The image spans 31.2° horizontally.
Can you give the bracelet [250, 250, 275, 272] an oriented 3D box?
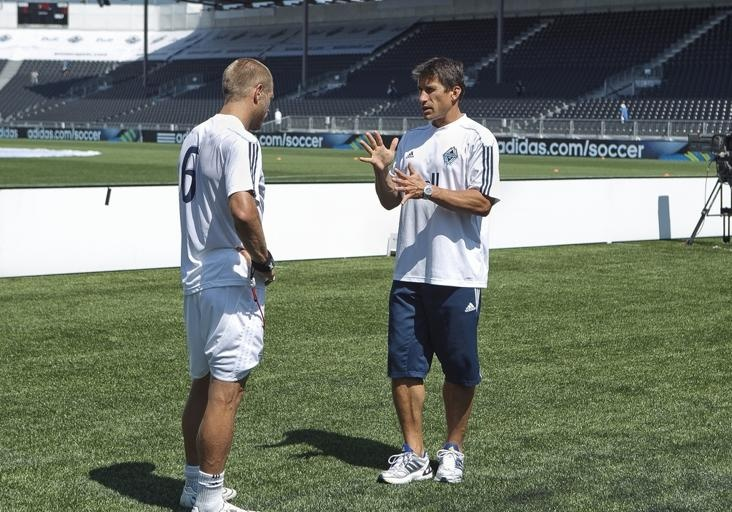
[{"bbox_3d":[-1.177,0.055,15.076,0.233,0.170,0.201,4,6,30],"label":"bracelet"}]
